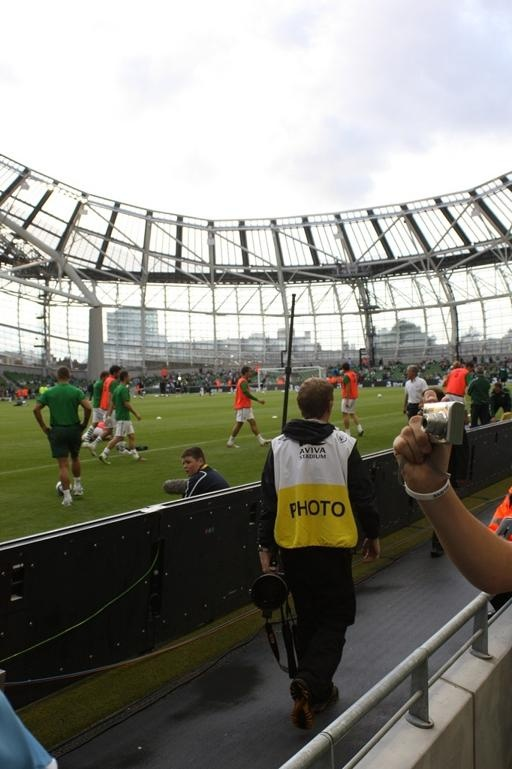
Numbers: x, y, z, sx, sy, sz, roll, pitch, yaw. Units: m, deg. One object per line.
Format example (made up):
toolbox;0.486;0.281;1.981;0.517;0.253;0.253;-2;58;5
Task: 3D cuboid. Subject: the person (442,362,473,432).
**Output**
person;4.197;0.214;10.577;0.481;1.398;0.421;9;-4;35

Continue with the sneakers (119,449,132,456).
sneakers;-2.942;1.557;11.548;0.310;0.133;0.117;4;3;28

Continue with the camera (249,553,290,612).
camera;0.078;1.030;2.604;0.205;0.348;0.261;0;-6;6

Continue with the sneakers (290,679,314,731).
sneakers;0.193;1.408;2.275;0.093;0.223;0.109;-5;-12;27

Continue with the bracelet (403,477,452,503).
bracelet;0.311;0.194;0.931;0.075;0.045;0.114;-4;0;15

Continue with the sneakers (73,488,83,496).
sneakers;-2.570;1.562;7.387;0.138;0.122;0.115;-2;2;31

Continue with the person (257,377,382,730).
person;0.308;0.853;2.542;0.632;1.623;0.681;-4;0;5

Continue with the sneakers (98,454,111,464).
sneakers;-3.040;1.492;10.189;0.131;0.159;0.361;27;-16;11

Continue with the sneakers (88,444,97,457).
sneakers;-3.624;1.454;11.224;0.108;0.320;0.139;6;43;25

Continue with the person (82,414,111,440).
person;-3.564;1.012;11.684;0.544;0.441;1.245;-7;3;0
